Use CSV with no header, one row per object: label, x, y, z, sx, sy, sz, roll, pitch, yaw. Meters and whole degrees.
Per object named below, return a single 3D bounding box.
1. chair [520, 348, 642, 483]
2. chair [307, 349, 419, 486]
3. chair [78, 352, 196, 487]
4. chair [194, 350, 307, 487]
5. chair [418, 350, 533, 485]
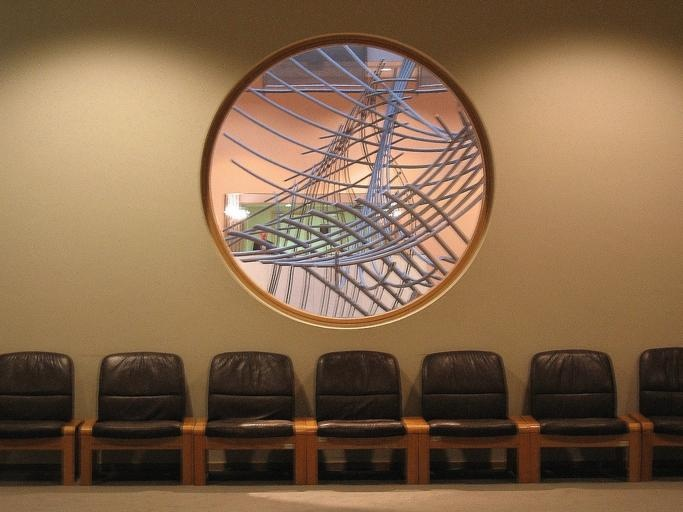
chair,1.836,1.232,5.130,0.838,0.909,0.796,-3,-8,11
chair,0.137,1.224,5.055,0.867,0.953,0.783,0,-9,-6
chair,-1.568,1.240,5.076,0.807,0.906,0.745,3,-7,-17
chair,-0.695,1.231,5.051,0.852,0.943,0.763,2,-9,-6
chair,1.023,1.302,5.488,0.940,1.065,0.882,-1,-8,1
